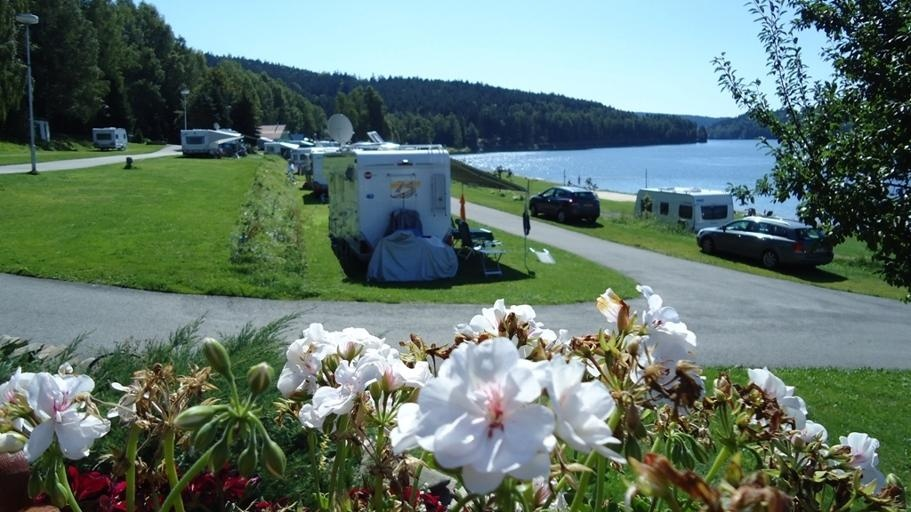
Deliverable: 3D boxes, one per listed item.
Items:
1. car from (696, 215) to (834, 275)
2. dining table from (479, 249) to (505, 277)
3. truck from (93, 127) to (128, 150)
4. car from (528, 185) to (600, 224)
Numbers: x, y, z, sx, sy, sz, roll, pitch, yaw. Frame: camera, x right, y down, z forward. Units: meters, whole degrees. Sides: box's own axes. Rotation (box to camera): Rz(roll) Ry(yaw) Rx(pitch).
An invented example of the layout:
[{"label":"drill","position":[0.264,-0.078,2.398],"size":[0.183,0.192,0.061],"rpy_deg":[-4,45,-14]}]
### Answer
[{"label":"car","position":[10.942,-0.543,23.527],"size":[1.271,1.657,3.961],"rpy_deg":[-4,14,-36]},{"label":"dining table","position":[1.052,0.026,19.790],"size":[0.525,0.561,0.841],"rpy_deg":[0,15,-4]},{"label":"truck","position":[-29.483,-9.933,57.226],"size":[2.075,2.072,3.461],"rpy_deg":[0,11,-4]},{"label":"car","position":[5.190,-2.486,31.626],"size":[1.378,1.637,3.292],"rpy_deg":[-3,14,-33]}]
